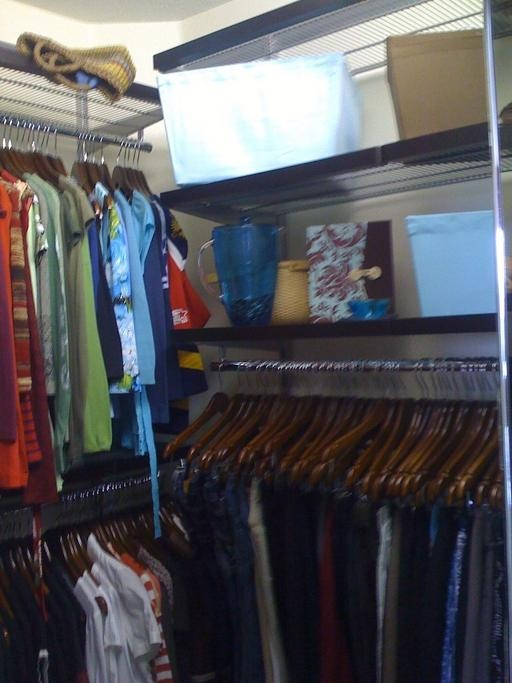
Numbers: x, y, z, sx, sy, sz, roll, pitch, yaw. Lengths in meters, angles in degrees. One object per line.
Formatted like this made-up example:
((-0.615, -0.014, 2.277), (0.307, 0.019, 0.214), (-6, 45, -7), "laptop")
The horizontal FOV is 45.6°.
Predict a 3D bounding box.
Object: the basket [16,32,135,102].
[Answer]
((-0.377, -0.583, 1.276), (0.132, 0.072, 0.121), (26, 15, -8), "basket")

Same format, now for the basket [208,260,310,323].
((0.032, -0.086, 1.135), (0.080, 0.113, 0.083), (3, -2, -34), "basket")

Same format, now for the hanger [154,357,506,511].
((0.112, 0.168, 1.068), (0.608, 0.136, 0.210), (-6, 5, 33), "hanger")

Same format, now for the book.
((0.166, -0.118, 1.073), (0.122, 0.204, 0.023), (-7, -18, 23), "book")
